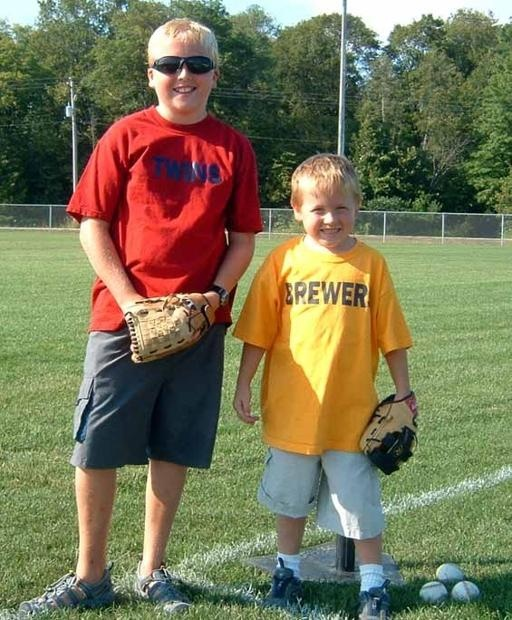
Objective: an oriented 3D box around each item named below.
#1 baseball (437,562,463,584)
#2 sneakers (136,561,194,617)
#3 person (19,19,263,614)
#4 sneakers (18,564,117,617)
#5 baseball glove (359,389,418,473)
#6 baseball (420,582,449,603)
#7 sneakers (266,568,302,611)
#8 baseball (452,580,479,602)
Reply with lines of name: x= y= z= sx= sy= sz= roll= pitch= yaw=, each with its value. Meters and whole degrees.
baseball: x=0.721 y=0.975 z=2.976 sx=0.072 sy=0.076 sz=0.069 roll=-16 pitch=-32 yaw=37
sneakers: x=-0.306 y=0.945 z=2.729 sx=0.089 sy=0.087 sz=0.233 roll=0 pitch=7 yaw=-39
person: x=-0.343 y=-0.021 z=2.713 sx=0.770 sy=2.020 sz=0.464 roll=0 pitch=4 yaw=-13
sneakers: x=-0.606 y=0.937 z=2.681 sx=0.328 sy=0.129 sz=0.110 roll=0 pitch=-1 yaw=-32
baseball glove: x=0.498 y=0.411 z=2.813 sx=0.135 sy=0.283 sz=0.211 roll=10 pitch=-25 yaw=46
baseball: x=0.621 y=0.986 z=2.826 sx=0.067 sy=0.038 sz=0.068 roll=0 pitch=6 yaw=35
sneakers: x=0.097 y=0.946 z=2.736 sx=0.126 sy=0.117 sz=0.123 roll=1 pitch=4 yaw=1
baseball: x=0.743 y=0.992 z=2.832 sx=0.063 sy=0.043 sz=0.061 roll=4 pitch=-26 yaw=-46
